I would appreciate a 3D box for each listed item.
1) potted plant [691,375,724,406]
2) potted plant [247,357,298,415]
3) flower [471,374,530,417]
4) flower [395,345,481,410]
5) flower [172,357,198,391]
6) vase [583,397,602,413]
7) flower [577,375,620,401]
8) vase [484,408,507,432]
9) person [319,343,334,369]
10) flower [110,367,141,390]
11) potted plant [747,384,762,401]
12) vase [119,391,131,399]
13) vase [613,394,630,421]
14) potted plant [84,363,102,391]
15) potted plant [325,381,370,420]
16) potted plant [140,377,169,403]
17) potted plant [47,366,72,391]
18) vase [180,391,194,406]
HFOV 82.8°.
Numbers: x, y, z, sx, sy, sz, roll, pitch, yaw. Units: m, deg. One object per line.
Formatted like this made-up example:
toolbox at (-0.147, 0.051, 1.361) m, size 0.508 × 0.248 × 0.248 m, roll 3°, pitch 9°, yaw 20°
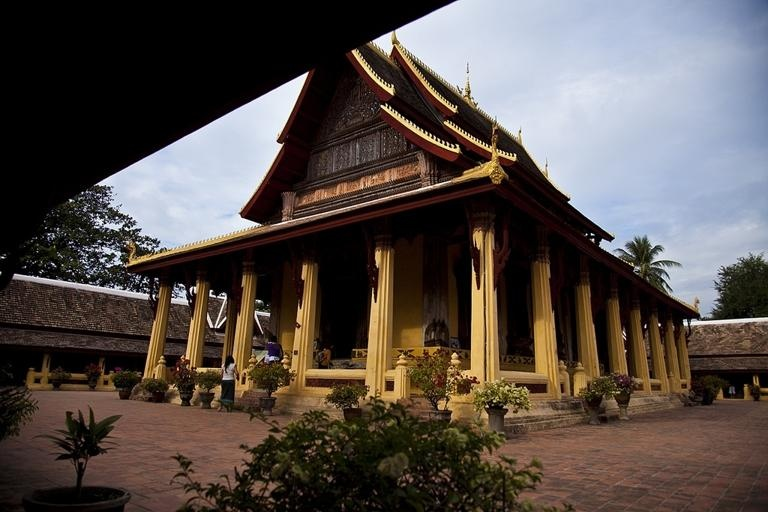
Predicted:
potted plant at (16.457, 6.746, 22.307) m, size 1.254 × 1.346 × 2.664 m, roll -9°, pitch -18°, yaw 33°
potted plant at (-3.124, 3.542, 12.124) m, size 1.211 × 1.383 × 1.349 m, roll 10°, pitch -18°, yaw -30°
flower at (2.381, 2.855, 8.979) m, size 1.044 × 0.690 × 1.016 m, roll -1°, pitch -15°, yaw 6°
flower at (1.149, 2.708, 9.584) m, size 1.119 × 1.196 × 1.562 m, roll 11°, pitch -18°, yaw -33°
flower at (-6.599, 3.886, 14.660) m, size 0.999 × 1.206 × 0.702 m, roll -2°, pitch -18°, yaw -9°
vase at (5.595, 3.943, 11.737) m, size 0.391 × 0.445 × 0.397 m, roll 7°, pitch -35°, yaw 0°
flower at (5.695, 3.419, 11.737) m, size 0.631 × 0.447 × 0.718 m, roll -10°, pitch -7°, yaw 12°
vase at (2.243, 3.183, 8.647) m, size 0.404 × 0.430 × 0.451 m, roll 0°, pitch -15°, yaw 1°
person at (-1.908, 3.237, 14.402) m, size 0.399 × 0.797 × 1.351 m, roll 3°, pitch -15°, yaw -8°
flower at (-9.984, 4.635, 16.754) m, size 0.955 × 0.880 × 1.021 m, roll 0°, pitch -3°, yaw -2°
potted plant at (23.977, 8.654, 28.126) m, size 0.607 × 0.957 × 0.757 m, roll -10°, pitch -18°, yaw 34°
vase at (-9.716, 5.142, 16.385) m, size 0.333 × 0.242 × 0.335 m, roll 2°, pitch -19°, yaw -7°
vase at (7.113, 4.414, 12.982) m, size 0.384 × 0.707 × 0.738 m, roll -7°, pitch -17°, yaw 26°
potted plant at (-14.477, 5.921, 21.629) m, size 0.699 × 1.177 × 0.846 m, roll 7°, pitch -16°, yaw -21°
potted plant at (-0.848, 3.343, 10.195) m, size 0.944 × 0.720 × 1.722 m, roll 1°, pitch -15°, yaw -3°
potted plant at (-8.203, 4.718, 15.576) m, size 1.221 × 0.796 × 0.738 m, roll -7°, pitch -17°, yaw 27°
potted plant at (-15.377, 5.755, 20.749) m, size 0.893 × 1.018 × 0.995 m, roll 1°, pitch -16°, yaw 1°
vase at (-6.585, 4.656, 14.413) m, size 0.439 × 0.343 × 0.445 m, roll -1°, pitch -16°, yaw 0°
